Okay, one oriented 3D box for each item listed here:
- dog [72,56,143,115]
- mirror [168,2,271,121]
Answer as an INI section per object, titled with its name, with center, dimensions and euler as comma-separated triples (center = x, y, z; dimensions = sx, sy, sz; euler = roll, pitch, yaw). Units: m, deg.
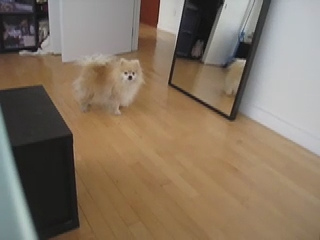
[dog]
center = -0.610, -0.422, 2.777
dimensions = 0.711, 0.657, 0.523
euler = 19, 24, 20
[mirror]
center = 0.627, -0.845, 2.970
dimensions = 0.269, 1.297, 1.128
euler = -22, 44, -39
